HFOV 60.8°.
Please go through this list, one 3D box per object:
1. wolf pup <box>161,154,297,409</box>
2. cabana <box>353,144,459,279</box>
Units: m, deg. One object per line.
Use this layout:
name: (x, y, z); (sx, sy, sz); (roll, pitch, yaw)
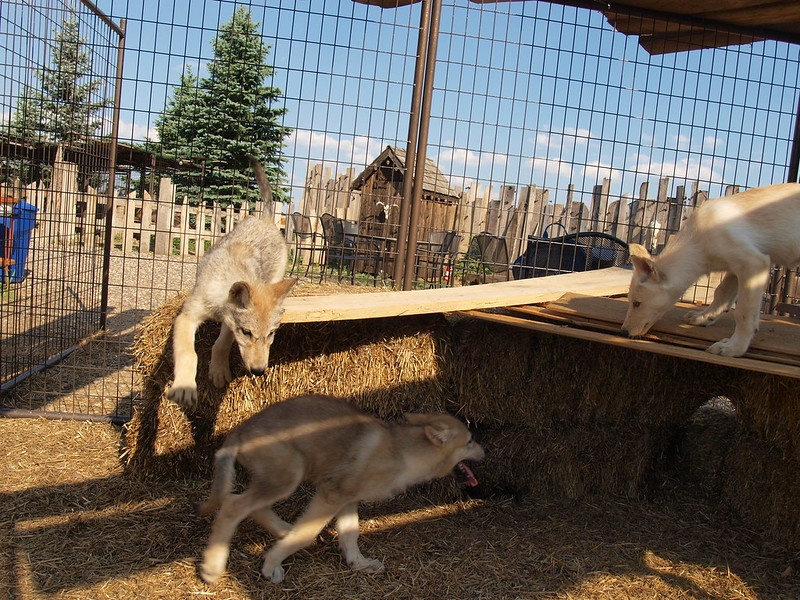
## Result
wolf pup: (-1.382, -0.221, 5.724); (0.905, 1.961, 1.496); (5, 9, -14)
cabana: (-0.007, -1.633, 12.269); (1.496, 1.965, 1.548); (0, 5, -40)
